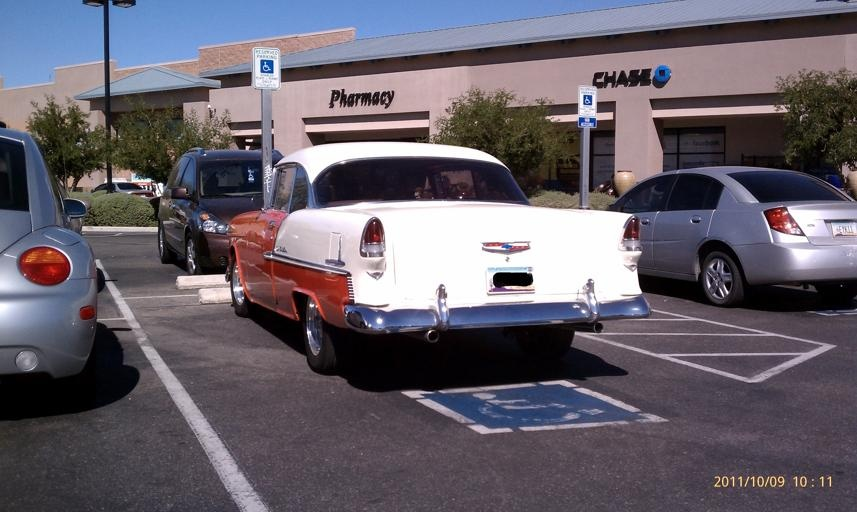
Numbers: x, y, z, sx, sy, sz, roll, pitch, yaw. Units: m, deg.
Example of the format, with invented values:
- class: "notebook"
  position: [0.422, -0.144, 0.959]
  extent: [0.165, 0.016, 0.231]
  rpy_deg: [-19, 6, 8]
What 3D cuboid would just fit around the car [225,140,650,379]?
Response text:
- class: "car"
  position: [-0.608, -0.156, 7.062]
  extent: [2.577, 1.583, 4.461]
  rpy_deg: [-1, 7, -31]
